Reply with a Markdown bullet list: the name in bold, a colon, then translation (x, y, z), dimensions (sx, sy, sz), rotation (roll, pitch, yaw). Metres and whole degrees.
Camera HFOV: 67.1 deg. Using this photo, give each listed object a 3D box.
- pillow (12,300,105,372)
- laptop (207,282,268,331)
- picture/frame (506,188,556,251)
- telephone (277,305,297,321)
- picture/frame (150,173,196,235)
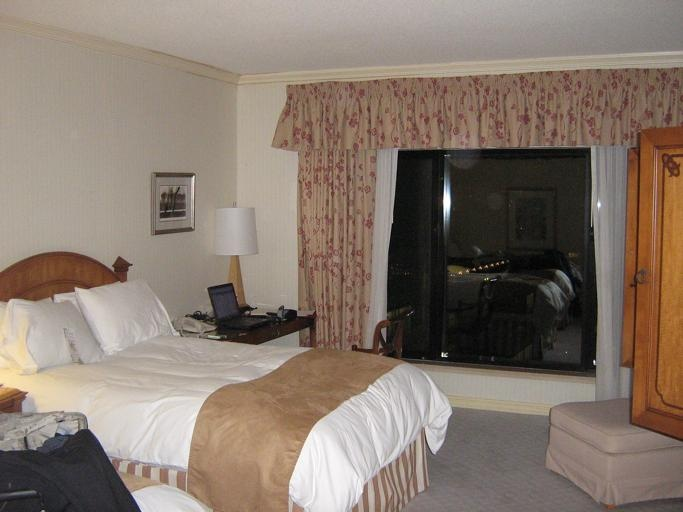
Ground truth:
- **pillow**: translation (-1.934, 0.535, 3.503), dimensions (0.135, 0.470, 0.458), rotation (-36, -19, 29)
- **laptop**: translation (-0.962, 0.475, 4.904), dimensions (0.437, 0.373, 0.532), rotation (1, 2, 8)
- **picture/frame**: translation (1.865, -0.367, 5.118), dimensions (0.437, 0.656, 0.024), rotation (2, 32, 23)
- **telephone**: translation (-0.560, 0.553, 5.125), dimensions (0.140, 0.109, 0.144), rotation (3, 5, 33)
- **picture/frame**: translation (-1.628, -0.522, 4.991), dimensions (0.498, 0.555, 0.031), rotation (1, 0, 20)
